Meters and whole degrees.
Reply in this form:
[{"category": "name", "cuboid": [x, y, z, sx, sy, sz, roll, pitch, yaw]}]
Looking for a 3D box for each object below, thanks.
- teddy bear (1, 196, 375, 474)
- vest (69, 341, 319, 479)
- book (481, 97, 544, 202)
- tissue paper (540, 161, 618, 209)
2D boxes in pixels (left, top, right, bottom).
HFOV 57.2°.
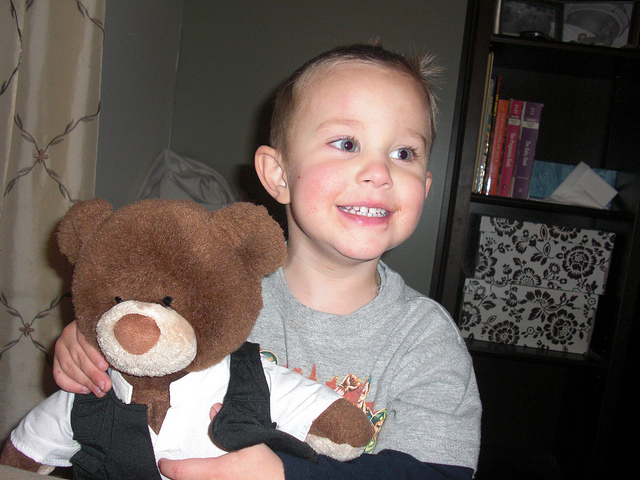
[{"category": "teddy bear", "cuboid": [-0.237, 0.193, 1.188, 0.670, 0.582, 0.301, 0, 3, -6]}, {"category": "vest", "cuboid": [-0.224, 0.308, 1.245, 0.426, 0.217, 0.395, 11, 13, 34]}, {"category": "book", "cuboid": [0.667, -0.317, 2.063, 0.114, 0.325, 0.310, 6, -14, 22]}, {"category": "tissue paper", "cuboid": [0.944, -0.182, 2.079, 0.194, 0.201, 0.057, 47, 23, 10]}]
